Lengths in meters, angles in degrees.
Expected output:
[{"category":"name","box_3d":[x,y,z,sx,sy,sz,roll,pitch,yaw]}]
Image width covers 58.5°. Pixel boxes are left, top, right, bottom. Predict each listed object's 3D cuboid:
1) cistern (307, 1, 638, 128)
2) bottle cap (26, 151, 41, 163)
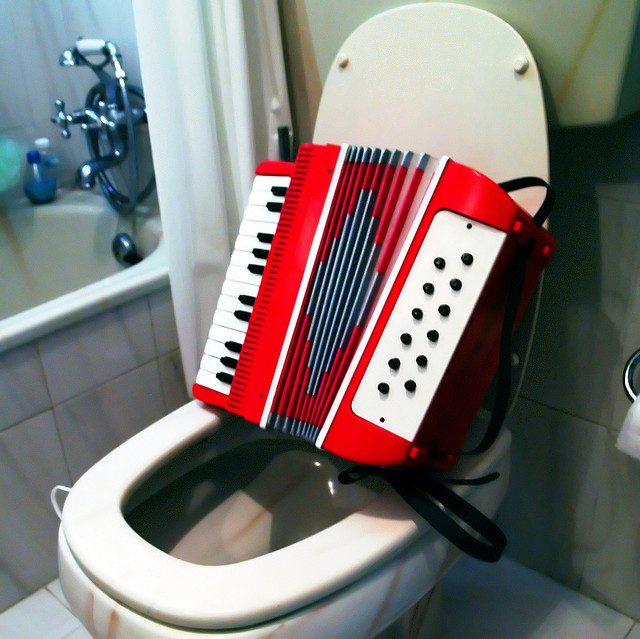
[{"category":"cistern","box_3d":[0.285,-0.442,0.979,0.515,0.251,0.479,19,34,30]},{"category":"bottle cap","box_3d":[-0.761,-0.433,1.517,0.026,0.031,0.030,-9,30,-22]}]
